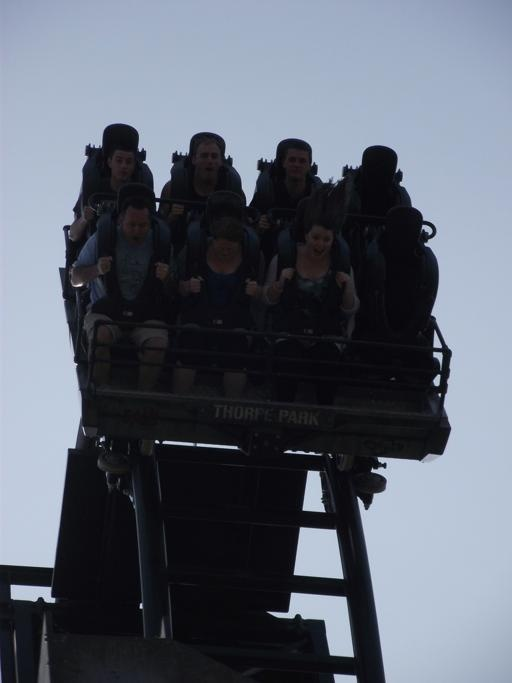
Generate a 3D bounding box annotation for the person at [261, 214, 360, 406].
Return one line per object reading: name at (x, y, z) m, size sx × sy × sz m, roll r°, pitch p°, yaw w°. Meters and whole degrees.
person at (0.526, -0.235, 18.075) m, size 0.809 × 1.577 × 0.665 m, roll 2°, pitch 0°, yaw -3°

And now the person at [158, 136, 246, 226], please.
person at (-0.458, -1.547, 19.739) m, size 0.753 × 0.891 × 1.462 m, roll 2°, pitch -1°, yaw -3°

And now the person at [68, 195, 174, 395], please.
person at (-1.084, -0.464, 17.932) m, size 0.822 × 1.779 × 0.853 m, roll 2°, pitch 0°, yaw -3°

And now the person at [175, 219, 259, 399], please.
person at (-0.264, -0.299, 18.044) m, size 0.745 × 1.565 × 0.765 m, roll 2°, pitch 0°, yaw -5°
